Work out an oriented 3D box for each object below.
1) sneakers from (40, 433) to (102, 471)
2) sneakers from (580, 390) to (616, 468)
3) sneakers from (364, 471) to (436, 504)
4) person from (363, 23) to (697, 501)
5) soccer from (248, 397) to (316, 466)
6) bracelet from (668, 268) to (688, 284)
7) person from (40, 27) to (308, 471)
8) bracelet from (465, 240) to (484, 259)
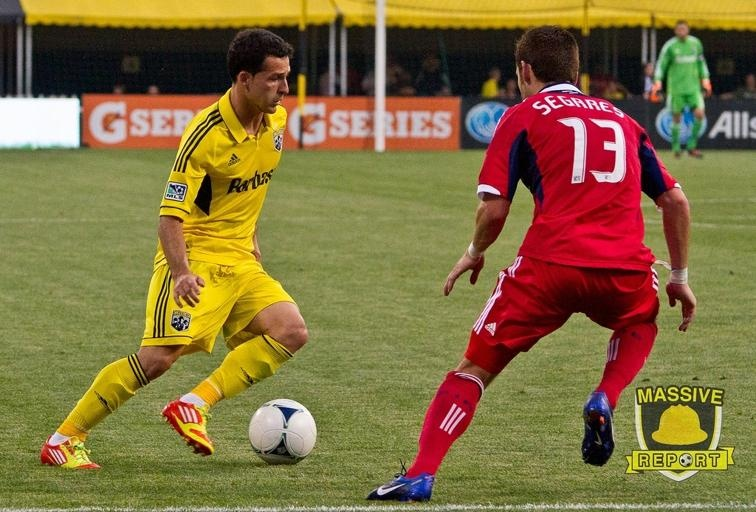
[{"bbox_3d":[-2.019,1.303,9.473,0.372,0.194,0.135,-1,9,-13],"label":"sneakers"},{"bbox_3d":[1.401,1.092,9.141,0.187,0.457,0.201,3,14,23],"label":"sneakers"},{"bbox_3d":[0.143,1.473,9.050,0.434,0.160,0.152,0,-11,4],"label":"sneakers"},{"bbox_3d":[1.221,-0.080,9.293,1.504,2.766,0.730,2,9,10],"label":"person"},{"bbox_3d":[-0.654,1.213,9.740,0.481,0.451,0.468,2,-13,31],"label":"soccer"},{"bbox_3d":[1.978,0.136,9.470,0.105,0.097,0.101,-3,7,-21],"label":"bracelet"},{"bbox_3d":[-1.217,-0.064,9.583,1.485,2.870,0.611,-1,9,-12],"label":"person"},{"bbox_3d":[0.630,-0.040,9.412,0.098,0.095,0.088,-18,25,37],"label":"bracelet"}]
